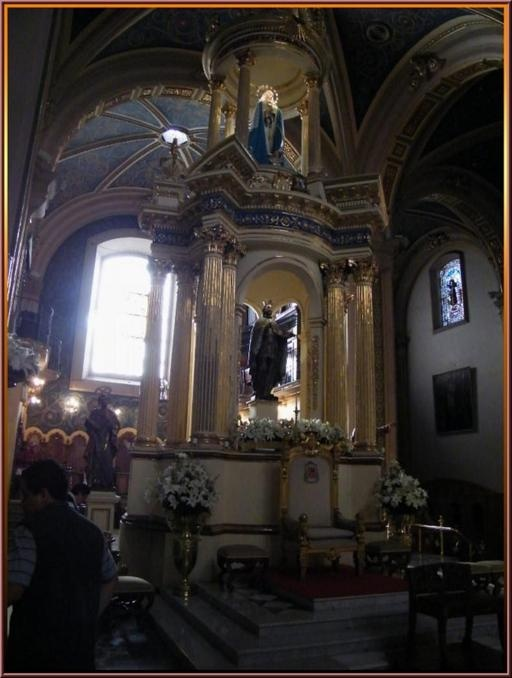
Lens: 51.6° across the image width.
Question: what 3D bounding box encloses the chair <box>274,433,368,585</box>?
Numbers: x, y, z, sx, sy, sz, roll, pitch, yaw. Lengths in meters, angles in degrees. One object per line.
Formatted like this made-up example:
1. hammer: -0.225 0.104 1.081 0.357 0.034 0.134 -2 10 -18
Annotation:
1. chair: 0.722 1.880 6.031 0.976 1.533 0.885 10 -17 -35

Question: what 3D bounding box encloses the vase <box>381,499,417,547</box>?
1. vase: 2.015 2.658 7.550 0.391 0.514 0.321 -17 -26 18

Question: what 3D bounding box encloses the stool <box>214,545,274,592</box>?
1. stool: -0.137 2.343 5.498 0.493 0.471 0.532 2 -25 -5

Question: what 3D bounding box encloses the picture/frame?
1. picture/frame: 4.913 1.577 13.233 1.564 1.653 0.046 -1 -4 -26

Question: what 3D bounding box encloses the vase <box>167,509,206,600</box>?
1. vase: -0.744 2.248 5.562 0.352 0.848 0.423 -2 -13 18

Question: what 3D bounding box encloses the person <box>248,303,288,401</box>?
1. person: 0.188 0.179 8.096 0.577 1.535 0.434 2 -12 1

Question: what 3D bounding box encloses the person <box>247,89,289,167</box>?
1. person: 0.210 -3.912 9.892 0.664 1.690 0.421 11 -27 -13

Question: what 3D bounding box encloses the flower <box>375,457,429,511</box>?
1. flower: 2.027 2.082 7.598 0.710 0.755 0.694 10 -13 -32

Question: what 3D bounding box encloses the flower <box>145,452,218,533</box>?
1. flower: -0.782 1.727 5.677 0.595 0.681 0.609 16 -15 -43

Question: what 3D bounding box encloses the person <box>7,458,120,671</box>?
1. person: -0.797 0.944 2.217 0.457 0.841 0.320 8 -13 -24
